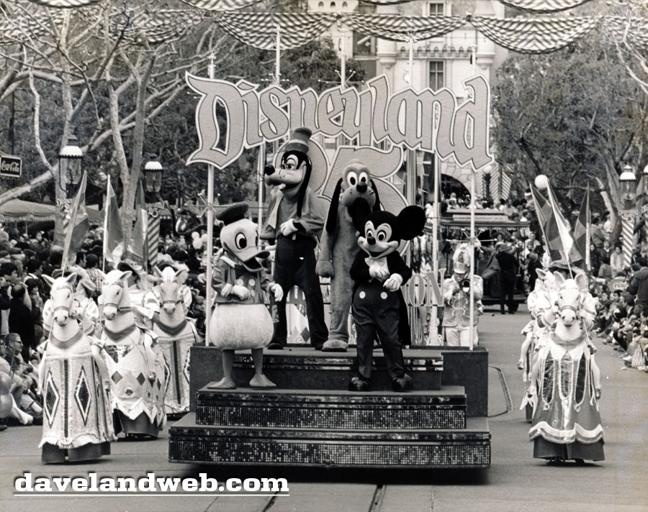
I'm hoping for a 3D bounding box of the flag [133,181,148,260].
[{"bbox_3d":[-4.240,-0.855,44.887,0.242,0.783,1.999,-11,36,-4],"label":"flag"}]

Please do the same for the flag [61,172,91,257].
[{"bbox_3d":[-5.368,-0.924,41.848,0.290,0.813,2.026,22,24,-19],"label":"flag"}]
